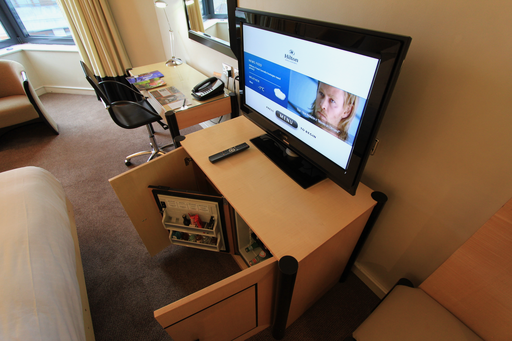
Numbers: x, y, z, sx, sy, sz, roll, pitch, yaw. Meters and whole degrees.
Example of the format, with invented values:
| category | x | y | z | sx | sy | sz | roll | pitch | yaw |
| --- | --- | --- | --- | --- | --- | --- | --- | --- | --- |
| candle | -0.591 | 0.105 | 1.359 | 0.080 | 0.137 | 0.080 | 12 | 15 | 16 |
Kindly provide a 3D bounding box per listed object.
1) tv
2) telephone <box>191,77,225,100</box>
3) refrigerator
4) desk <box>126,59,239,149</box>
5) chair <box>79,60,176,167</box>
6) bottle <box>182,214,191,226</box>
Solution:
| category | x | y | z | sx | sy | sz | roll | pitch | yaw |
| --- | --- | --- | --- | --- | --- | --- | --- | --- | --- |
| tv | 0.277 | -0.478 | 2.312 | 0.289 | 1.005 | 1.190 | -26 | 45 | -34 |
| telephone | -0.425 | -0.733 | 3.126 | 0.268 | 0.123 | 0.197 | -30 | 58 | -18 |
| refrigerator | -0.356 | 0.424 | 2.613 | 0.803 | 0.238 | 0.560 | 7 | 43 | -12 |
| desk | -0.655 | -0.628 | 3.217 | 0.471 | 0.451 | 0.928 | -25 | 52 | -21 |
| chair | -1.181 | -0.520 | 3.533 | 0.728 | 1.061 | 0.638 | -27 | 39 | -32 |
| bottle | -0.527 | 0.373 | 2.654 | 0.028 | 0.083 | 0.028 | -2 | 57 | 2 |
